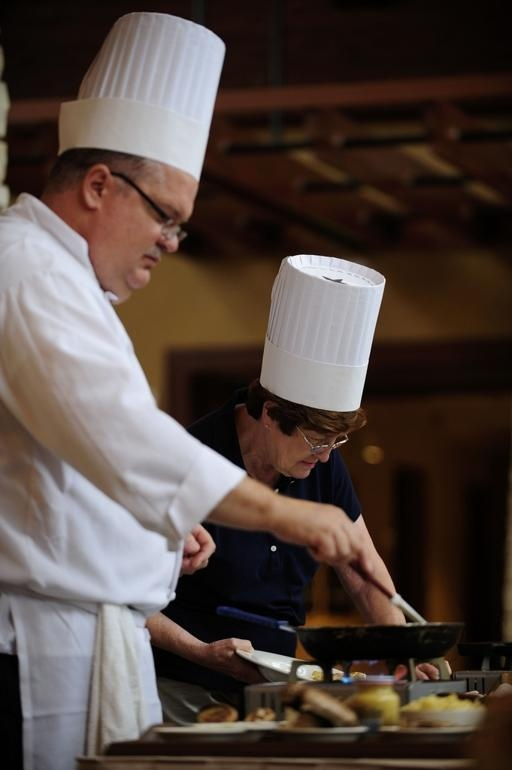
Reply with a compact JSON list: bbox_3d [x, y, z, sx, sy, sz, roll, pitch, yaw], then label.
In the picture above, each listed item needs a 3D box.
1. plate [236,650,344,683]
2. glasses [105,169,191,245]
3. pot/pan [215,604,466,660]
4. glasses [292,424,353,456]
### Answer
[{"bbox_3d":[0.057,0.588,2.019,0.183,0.028,0.167,15,-11,-17],"label":"plate"},{"bbox_3d":[-0.187,-0.325,1.731,0.126,0.041,0.131,50,3,14],"label":"glasses"},{"bbox_3d":[0.133,0.420,1.588,0.397,0.052,0.211,-1,-19,17],"label":"pot/pan"},{"bbox_3d":[0.156,0.148,2.405,0.091,0.025,0.086,-7,44,-48],"label":"glasses"}]
